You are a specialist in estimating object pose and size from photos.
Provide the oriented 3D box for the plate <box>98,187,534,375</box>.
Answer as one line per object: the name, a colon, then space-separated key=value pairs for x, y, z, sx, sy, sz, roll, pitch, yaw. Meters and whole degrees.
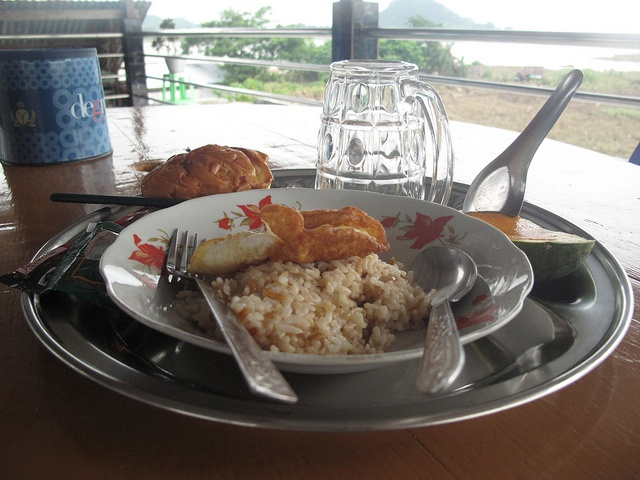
plate: x=-0.042 y=-0.020 z=0.655 sx=0.524 sy=0.203 sz=0.351 roll=-6 pitch=8 yaw=-24

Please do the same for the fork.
fork: x=-0.164 y=0.024 z=0.598 sx=0.071 sy=0.066 sz=0.491 roll=13 pitch=16 yaw=-32

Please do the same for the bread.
bread: x=-0.205 y=-0.147 z=0.865 sx=0.191 sy=0.093 sz=0.314 roll=7 pitch=14 yaw=31

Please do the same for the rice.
rice: x=-0.010 y=0.097 z=0.568 sx=0.220 sy=0.059 sz=0.142 roll=2 pitch=38 yaw=-17

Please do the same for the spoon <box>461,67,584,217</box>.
spoon: x=0.349 y=-0.107 z=0.862 sx=0.112 sy=0.408 sz=0.056 roll=42 pitch=23 yaw=31

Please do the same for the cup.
cup: x=0.108 y=-0.212 z=0.935 sx=0.266 sy=0.310 sz=0.241 roll=1 pitch=23 yaw=1
